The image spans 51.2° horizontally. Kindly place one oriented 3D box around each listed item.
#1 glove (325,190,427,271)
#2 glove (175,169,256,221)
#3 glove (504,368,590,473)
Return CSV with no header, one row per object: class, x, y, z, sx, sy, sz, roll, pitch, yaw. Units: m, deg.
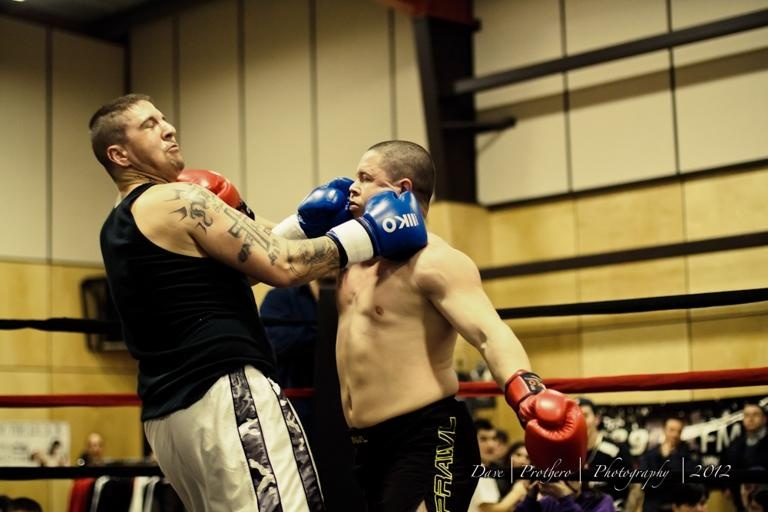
glove,-0.024,-0.065,3.943,0.424,0.325,0.218,-22,-41,0
glove,-0.878,-0.364,4.202,0.331,0.251,0.137,25,-72,0
glove,0.703,0.725,3.685,0.305,0.476,0.250,-34,-41,-9
